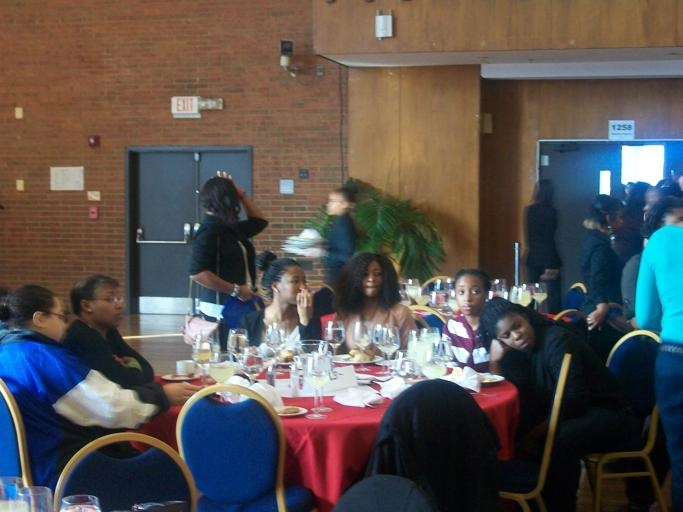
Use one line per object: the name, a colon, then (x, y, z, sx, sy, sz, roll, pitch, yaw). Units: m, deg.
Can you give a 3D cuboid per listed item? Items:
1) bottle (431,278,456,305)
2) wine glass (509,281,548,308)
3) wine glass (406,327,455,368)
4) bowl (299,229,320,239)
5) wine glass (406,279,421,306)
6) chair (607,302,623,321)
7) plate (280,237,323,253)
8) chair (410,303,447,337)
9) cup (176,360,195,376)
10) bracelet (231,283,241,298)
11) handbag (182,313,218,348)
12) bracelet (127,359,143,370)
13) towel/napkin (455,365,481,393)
bottle: (0.784, 0.272, 7.030, 0.180, 0.292, 0.182, 1, -6, 0)
wine glass: (1.431, 0.331, 6.951, 0.234, 0.253, 0.249, 1, -4, -1)
wine glass: (0.474, 0.512, 5.053, 0.199, 0.216, 0.213, 0, -6, 3)
bowl: (-0.314, -0.214, 8.500, 0.141, 0.053, 0.158, 0, 0, 14)
wine glass: (0.571, 0.280, 7.223, 0.157, 0.228, 0.156, -2, -8, 15)
chair: (2.037, 0.414, 6.737, 0.112, 0.174, 0.127, 0, 8, 15)
plate: (-0.363, -0.104, 8.035, 0.206, 0.122, 0.265, -1, 0, 0)
chair: (0.577, 0.458, 6.380, 0.183, 0.258, 0.167, -2, 0, -18)
cup: (-0.949, 0.664, 5.374, 0.082, 0.069, 0.087, -3, 4, 0)
bracelet: (-0.745, 0.237, 6.231, 0.051, 0.077, 0.078, 13, -18, -11)
handbag: (-0.910, 0.470, 5.768, 0.253, 0.198, 0.133, 1, -23, 29)
bracelet: (-1.243, 0.637, 5.314, 0.069, 0.073, 0.072, 0, 1, -13)
towel/napkin: (0.709, 0.689, 5.046, 0.106, 0.040, 0.119, 15, 34, 18)
